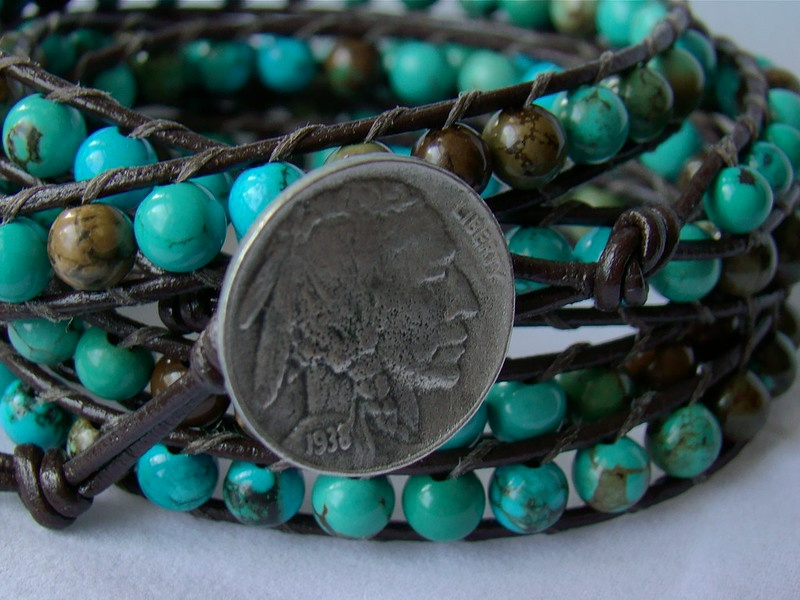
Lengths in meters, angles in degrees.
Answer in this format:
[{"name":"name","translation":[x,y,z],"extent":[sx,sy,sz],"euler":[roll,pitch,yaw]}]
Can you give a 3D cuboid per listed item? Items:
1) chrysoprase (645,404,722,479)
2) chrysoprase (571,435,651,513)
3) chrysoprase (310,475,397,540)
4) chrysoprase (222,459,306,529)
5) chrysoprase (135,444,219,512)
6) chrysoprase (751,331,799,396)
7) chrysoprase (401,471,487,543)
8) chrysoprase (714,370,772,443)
[{"name":"chrysoprase","translation":[0.358,0.172,1.261],"extent":[0.069,0.096,0.083],"euler":[-4,88,9]},{"name":"chrysoprase","translation":[0.257,0.210,1.230],"extent":[0.081,0.084,0.112],"euler":[1,100,12]},{"name":"chrysoprase","translation":[-0.056,0.242,1.197],"extent":[0.076,0.079,0.059],"euler":[3,97,17]},{"name":"chrysoprase","translation":[-0.167,0.246,1.265],"extent":[0.114,0.131,0.088],"euler":[1,75,-17]},{"name":"chrysoprase","translation":[-0.276,0.201,1.213],"extent":[0.072,0.083,0.067],"euler":[0,88,4]},{"name":"chrysoprase","translation":[0.507,0.084,1.357],"extent":[0.017,0.073,0.080],"euler":[4,105,-19]},{"name":"chrysoprase","translation":[0.056,0.244,1.254],"extent":[0.075,0.084,0.102],"euler":[-8,110,14]},{"name":"chrysoprase","translation":[0.442,0.135,1.298],"extent":[0.067,0.043,0.083],"euler":[24,90,15]}]
